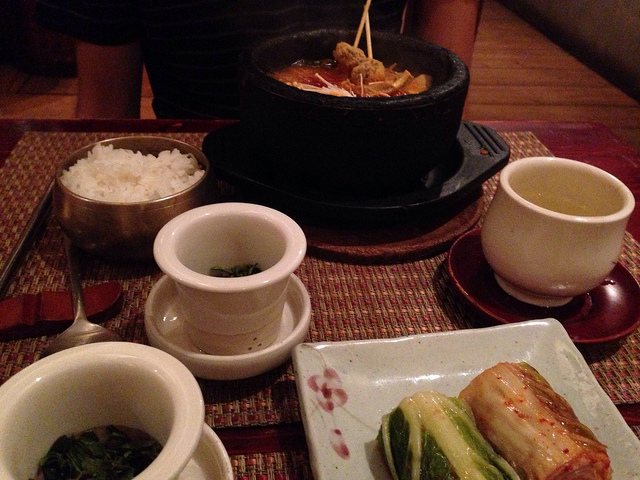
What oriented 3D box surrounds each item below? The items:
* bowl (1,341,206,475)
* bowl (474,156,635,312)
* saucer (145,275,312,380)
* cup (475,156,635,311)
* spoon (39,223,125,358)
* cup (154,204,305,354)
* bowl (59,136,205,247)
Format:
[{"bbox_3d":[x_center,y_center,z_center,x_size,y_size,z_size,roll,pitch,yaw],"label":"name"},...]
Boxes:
[{"bbox_3d":[-0.334,0.296,0.805,0.301,0.136,0.228,-4,48,-10],"label":"bowl"},{"bbox_3d":[0.510,0.001,1.281,0.326,0.278,0.370,-5,41,-6],"label":"bowl"},{"bbox_3d":[-0.194,0.180,1.070,0.342,0.090,0.229,1,47,-5],"label":"saucer"},{"bbox_3d":[0.543,0.000,1.287,0.330,0.303,0.365,-2,43,-3],"label":"cup"},{"bbox_3d":[-0.571,0.136,1.111,0.152,0.076,0.371,-25,55,-26],"label":"spoon"},{"bbox_3d":[-0.188,0.094,1.056,0.300,0.229,0.289,4,32,-3],"label":"cup"},{"bbox_3d":[-0.475,-0.122,1.313,0.363,0.168,0.414,3,34,-8],"label":"bowl"}]
